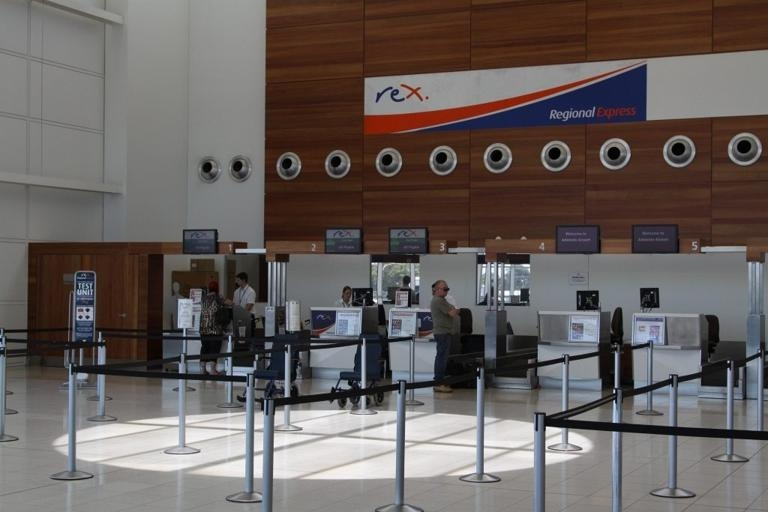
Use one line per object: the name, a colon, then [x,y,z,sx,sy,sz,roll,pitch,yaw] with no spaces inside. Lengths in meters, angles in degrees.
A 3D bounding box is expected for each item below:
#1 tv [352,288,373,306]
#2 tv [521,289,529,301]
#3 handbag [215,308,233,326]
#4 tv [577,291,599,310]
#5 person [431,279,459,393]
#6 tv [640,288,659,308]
tv: [-0.494,0.935,15.914,0.367,0.308,0.130,2,4,5]
tv: [3.304,0.941,17.028,0.253,0.335,0.035,4,-7,-2]
handbag: [-3.139,1.212,14.300,0.278,0.359,0.346,1,-6,-2]
tv: [4.081,0.920,14.544,0.365,0.335,0.190,0,-2,26]
person: [1.068,1.284,12.733,0.457,2.195,0.596,5,1,18]
tv: [5.224,0.845,14.263,0.317,0.388,0.268,-3,-4,27]
